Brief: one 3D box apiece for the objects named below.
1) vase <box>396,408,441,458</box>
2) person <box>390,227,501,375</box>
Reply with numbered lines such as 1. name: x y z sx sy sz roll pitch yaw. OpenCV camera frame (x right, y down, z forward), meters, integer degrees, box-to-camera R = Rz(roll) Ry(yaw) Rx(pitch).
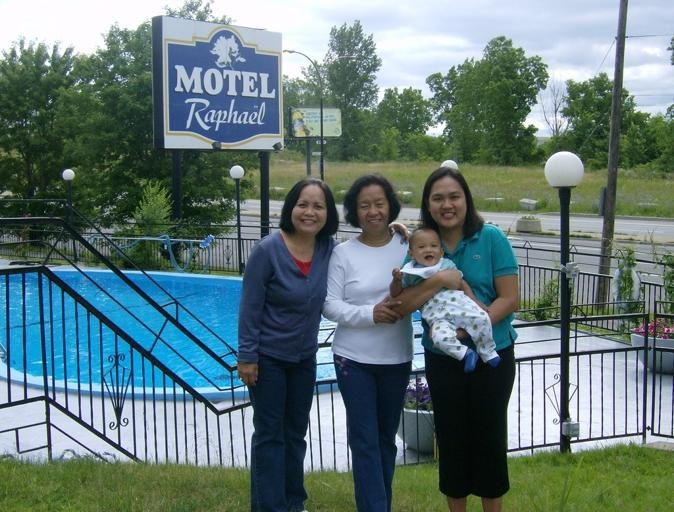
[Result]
1. vase: 1.183 2.588 12.835 0.636 0.504 0.531 -1 -5 20
2. person: 1.262 0.548 10.195 0.852 0.734 1.957 -18 44 -8
